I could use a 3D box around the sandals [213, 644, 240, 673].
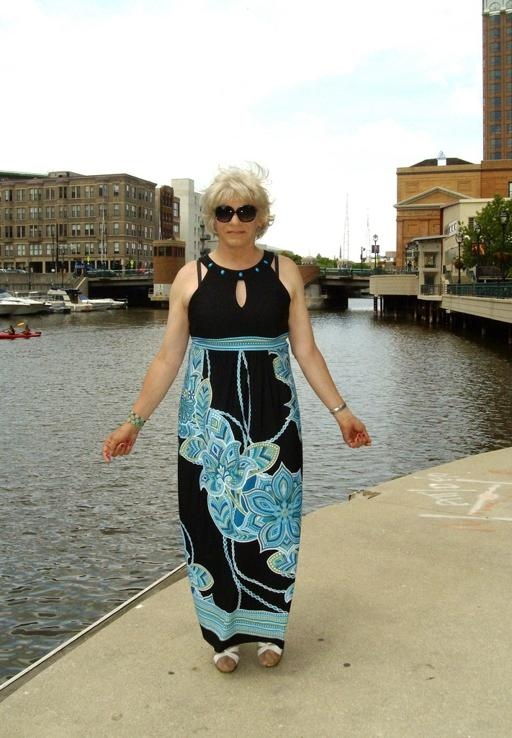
[{"bbox_3d":[-0.120,1.158,2.803,0.103,0.101,0.130,-2,0,-4],"label":"sandals"}]

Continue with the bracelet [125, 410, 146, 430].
[{"bbox_3d":[-0.502,0.217,2.940,0.080,0.087,0.030,-25,19,-33],"label":"bracelet"}]

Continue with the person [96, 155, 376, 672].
[{"bbox_3d":[-0.100,0.194,2.893,0.885,1.953,0.416,-2,0,5],"label":"person"}]
